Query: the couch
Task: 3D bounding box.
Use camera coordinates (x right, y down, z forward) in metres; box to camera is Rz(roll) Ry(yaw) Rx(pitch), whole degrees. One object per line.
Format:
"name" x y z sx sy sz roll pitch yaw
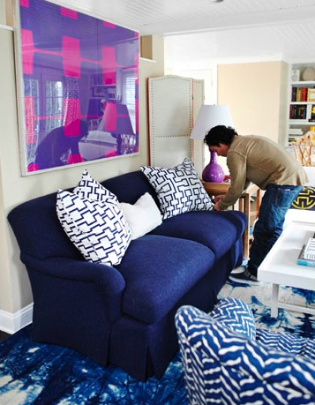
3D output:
"couch" -0.040 0.270 2.403 0.949 0.783 1.619 9 16 22
